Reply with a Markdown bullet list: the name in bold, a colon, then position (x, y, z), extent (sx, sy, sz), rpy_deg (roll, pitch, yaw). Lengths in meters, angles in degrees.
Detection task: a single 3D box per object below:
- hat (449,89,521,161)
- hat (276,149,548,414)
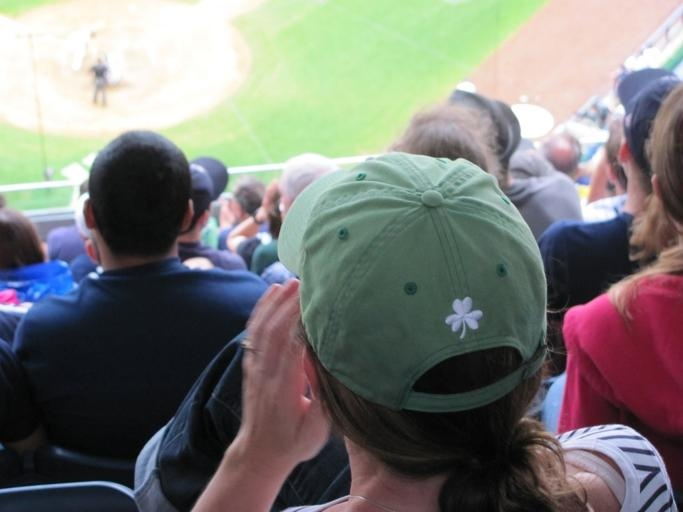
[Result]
- **hat**: position (0.740, -0.675, 3.920), extent (0.293, 0.167, 0.411), rpy_deg (-17, 3, -14)
- **hat**: position (0.209, 0.056, 2.122), extent (0.523, 0.439, 0.771), rpy_deg (-6, 53, -6)
